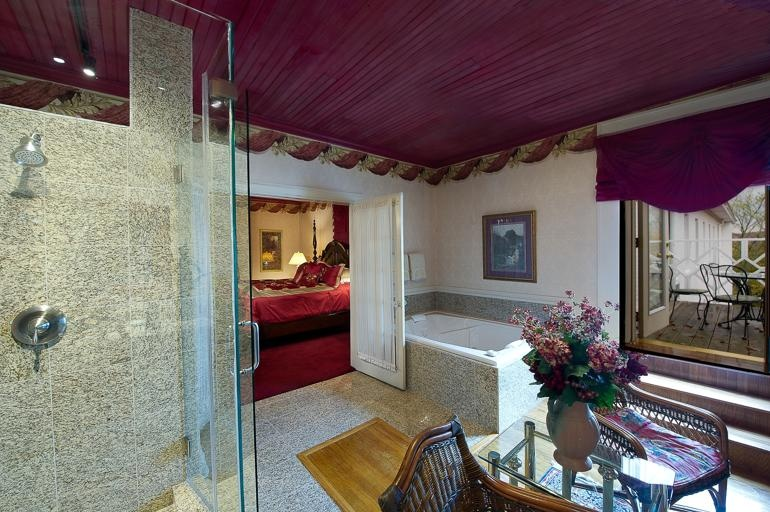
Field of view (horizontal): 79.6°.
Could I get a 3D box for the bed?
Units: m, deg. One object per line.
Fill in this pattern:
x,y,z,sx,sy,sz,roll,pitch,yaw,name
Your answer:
-1.345,0.605,7.269,1.622,0.991,1.632,0,-1,-37,bed

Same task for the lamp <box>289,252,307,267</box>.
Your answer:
-1.915,0.067,9.971,0.315,0.355,0.331,2,5,19,lamp

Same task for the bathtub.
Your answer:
0.980,0.952,5.593,0.930,0.326,0.601,4,6,43,bathtub

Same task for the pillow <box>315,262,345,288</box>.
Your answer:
-0.934,0.330,7.931,0.147,0.355,0.499,14,-3,-32,pillow
